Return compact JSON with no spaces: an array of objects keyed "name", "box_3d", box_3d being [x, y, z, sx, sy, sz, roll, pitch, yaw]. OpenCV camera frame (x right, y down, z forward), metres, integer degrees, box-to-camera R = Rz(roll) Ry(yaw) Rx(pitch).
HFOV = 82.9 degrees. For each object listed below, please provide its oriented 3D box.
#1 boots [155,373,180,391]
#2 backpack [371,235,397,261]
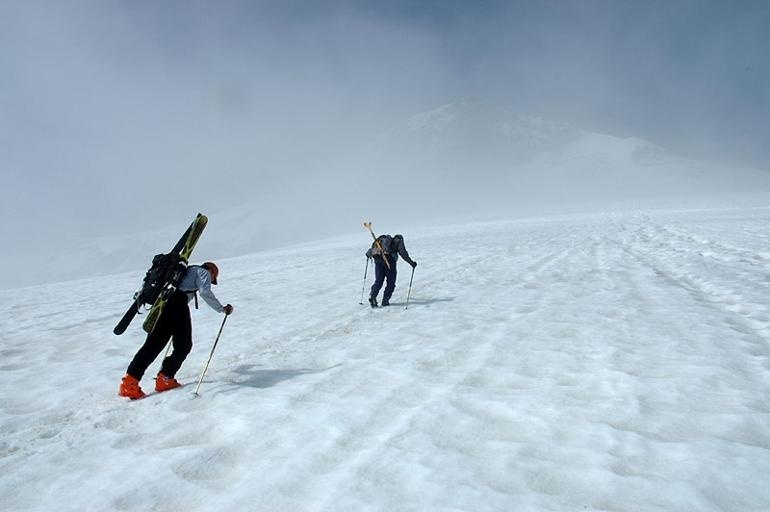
[{"name":"boots","box_3d":[-3.637,2.066,7.216,0.380,0.275,0.273,-10,14,-27]},{"name":"backpack","box_3d":[-0.038,-0.257,11.904,0.753,0.600,0.324,1,-1,8]}]
